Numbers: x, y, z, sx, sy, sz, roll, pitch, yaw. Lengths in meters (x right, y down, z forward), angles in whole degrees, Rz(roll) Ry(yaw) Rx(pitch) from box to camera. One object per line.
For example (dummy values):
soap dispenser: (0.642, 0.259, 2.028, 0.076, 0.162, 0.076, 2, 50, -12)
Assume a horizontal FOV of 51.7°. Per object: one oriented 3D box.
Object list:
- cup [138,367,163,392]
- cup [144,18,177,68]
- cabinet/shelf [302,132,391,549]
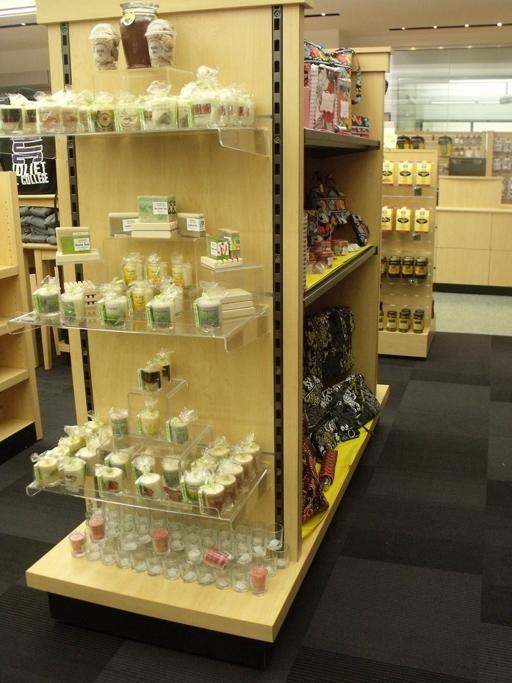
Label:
cup: (-0.362, 0.129, 1.832, 0.073, 0.120, 0.070, 0, 14, 0)
cup: (-0.274, -0.854, 1.529, 0.082, 0.118, 0.171, -2, 9, -8)
cabinet/shelf: (0.467, -0.266, 3.042, 0.495, 1.841, 1.581, 1, 9, 13)
